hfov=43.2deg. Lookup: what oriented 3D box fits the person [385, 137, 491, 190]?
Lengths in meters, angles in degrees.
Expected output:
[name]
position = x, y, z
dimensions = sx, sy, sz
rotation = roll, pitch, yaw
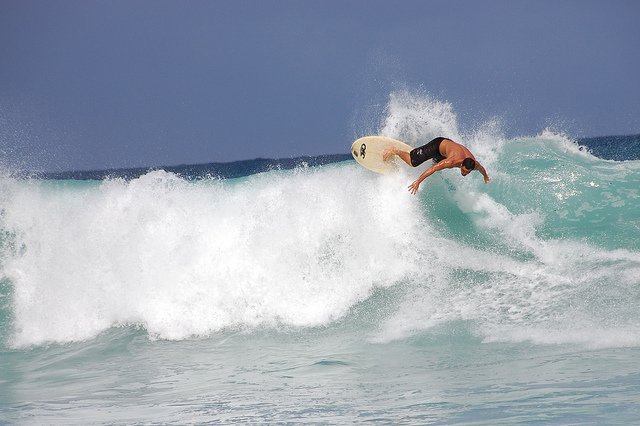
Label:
[person]
position = 2.430, -1.068, 15.663
dimensions = 1.556, 0.483, 1.245
rotation = -17, 34, -34
